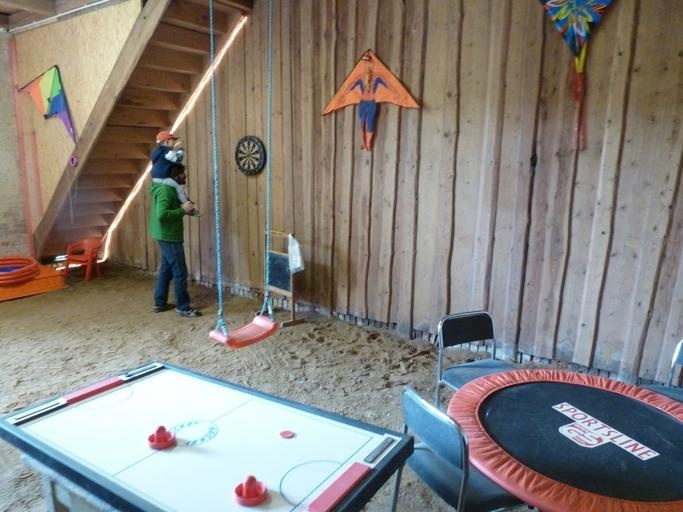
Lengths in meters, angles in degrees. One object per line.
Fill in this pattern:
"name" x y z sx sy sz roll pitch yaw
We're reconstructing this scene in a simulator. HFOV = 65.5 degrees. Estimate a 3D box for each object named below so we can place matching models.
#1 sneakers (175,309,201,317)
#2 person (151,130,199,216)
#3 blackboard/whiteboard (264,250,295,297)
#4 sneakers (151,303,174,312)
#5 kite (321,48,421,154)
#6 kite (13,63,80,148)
"sneakers" -1.776 0.663 6.117 0.229 0.117 0.103 -1 8 -8
"person" -1.917 -0.956 6.043 0.460 0.878 0.395 -1 13 -23
"blackboard/whiteboard" -0.679 0.184 5.846 0.055 0.555 0.443 -12 17 -38
"sneakers" -2.126 0.594 6.333 0.081 0.103 0.227 8 18 31
"kite" 0.259 -1.564 5.320 0.939 0.952 0.125 1 -3 14
"kite" -3.625 -1.957 6.486 0.047 0.917 0.796 -34 63 -17
